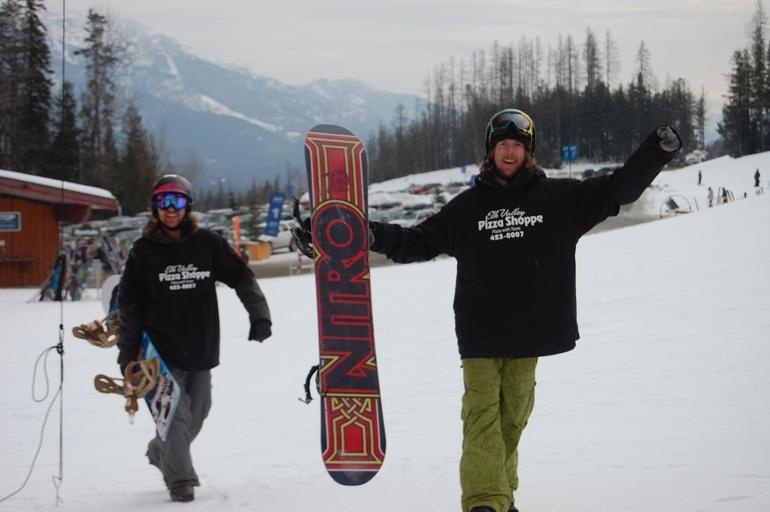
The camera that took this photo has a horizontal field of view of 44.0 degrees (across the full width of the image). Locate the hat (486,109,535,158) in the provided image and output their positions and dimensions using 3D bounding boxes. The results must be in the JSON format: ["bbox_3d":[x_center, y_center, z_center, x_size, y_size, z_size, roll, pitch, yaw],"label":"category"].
[{"bbox_3d":[1.901,-1.786,14.531,0.552,0.634,0.771,4,-15,7],"label":"hat"}]

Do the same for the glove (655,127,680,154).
[{"bbox_3d":[4.157,-1.716,14.054,0.303,0.407,0.187,-3,-8,-13],"label":"glove"}]

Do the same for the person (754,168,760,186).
[{"bbox_3d":[13.418,-2.799,34.425,0.176,0.587,1.038,1,7,20],"label":"person"}]

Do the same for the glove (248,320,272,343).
[{"bbox_3d":[-1.947,1.200,14.880,0.280,0.395,0.139,4,4,-6],"label":"glove"}]

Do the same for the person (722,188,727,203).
[{"bbox_3d":[12.071,-2.179,33.894,0.170,0.750,0.105,0,-21,12],"label":"person"}]
